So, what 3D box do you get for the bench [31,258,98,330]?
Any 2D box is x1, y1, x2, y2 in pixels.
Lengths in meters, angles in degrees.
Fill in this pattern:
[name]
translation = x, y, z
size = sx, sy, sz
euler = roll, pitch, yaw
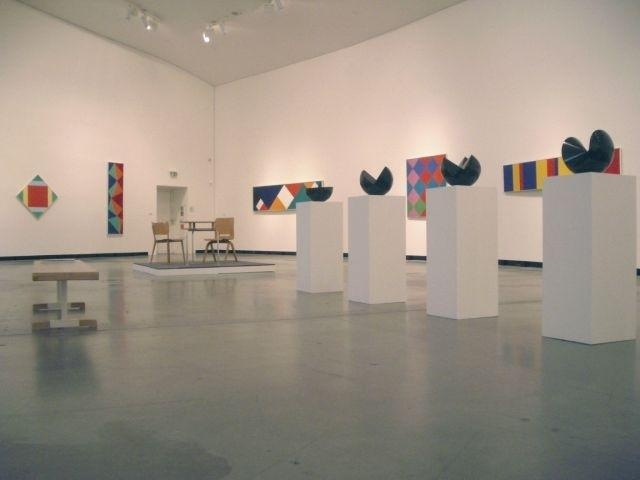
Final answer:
[bench]
translation = -2.718, 0.273, 5.039
size = 0.470, 0.491, 1.355
euler = 2, 21, -34
